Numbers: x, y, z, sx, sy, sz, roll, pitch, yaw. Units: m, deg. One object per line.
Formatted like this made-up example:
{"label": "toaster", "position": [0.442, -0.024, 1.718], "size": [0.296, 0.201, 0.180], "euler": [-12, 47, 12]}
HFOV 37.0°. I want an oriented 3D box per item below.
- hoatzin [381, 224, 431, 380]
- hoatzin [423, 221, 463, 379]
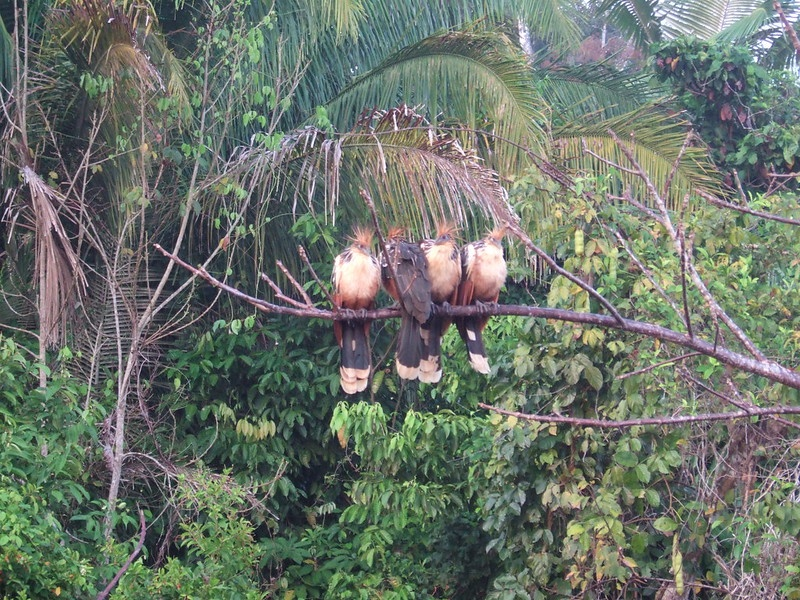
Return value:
{"label": "hoatzin", "position": [0.071, 0.018, 8.896], "size": [0.291, 1.328, 0.417], "euler": [6, -25, -18]}
{"label": "hoatzin", "position": [0.303, -0.009, 9.149], "size": [0.285, 1.126, 0.555], "euler": [2, 2, -28]}
